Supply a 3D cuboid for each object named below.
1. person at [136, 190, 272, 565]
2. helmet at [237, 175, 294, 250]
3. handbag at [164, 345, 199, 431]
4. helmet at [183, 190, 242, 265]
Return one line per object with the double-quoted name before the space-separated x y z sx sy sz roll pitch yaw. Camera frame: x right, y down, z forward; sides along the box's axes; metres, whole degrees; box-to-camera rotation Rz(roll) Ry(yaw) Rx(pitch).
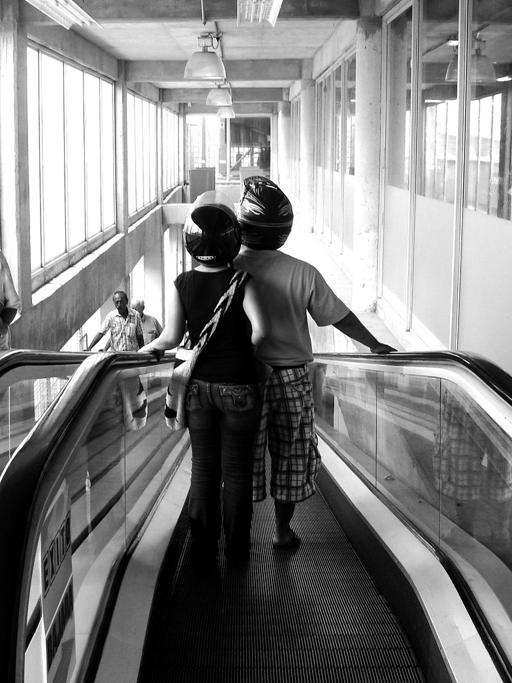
"person" -0.193 0.169 2.014 0.450 1.599 0.304 1 -2 0
"helmet" 0.054 -0.655 2.278 0.195 0.330 0.369 3 41 -2
"handbag" -0.330 0.183 2.033 0.088 0.350 0.180 10 9 40
"helmet" -0.179 -0.474 1.941 0.170 0.321 0.300 -1 12 -2
